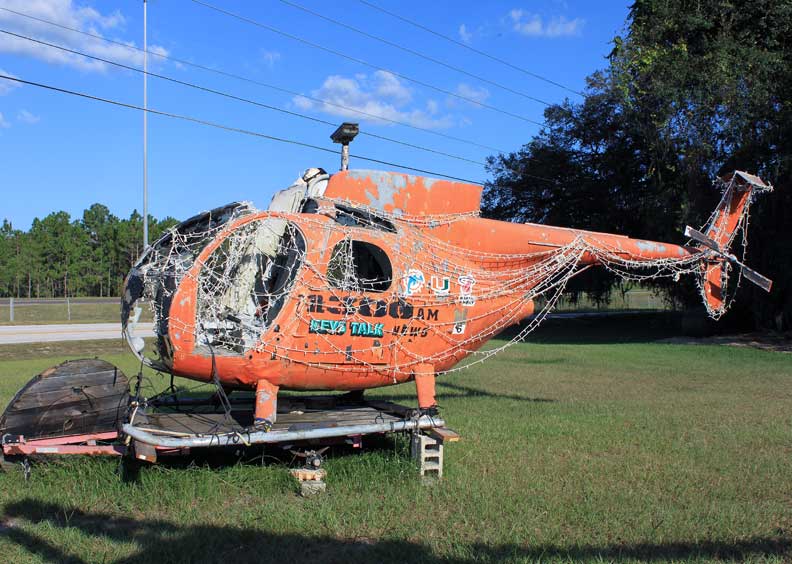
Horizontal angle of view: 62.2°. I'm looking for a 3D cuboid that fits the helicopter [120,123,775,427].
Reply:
[{"bbox_3d":[1.795,0.182,16.795,18.185,6.802,4.361,1,-5,-20],"label":"helicopter"}]
